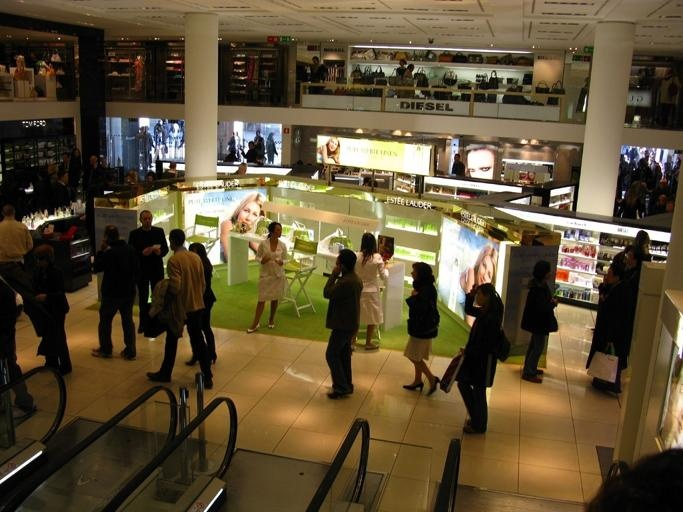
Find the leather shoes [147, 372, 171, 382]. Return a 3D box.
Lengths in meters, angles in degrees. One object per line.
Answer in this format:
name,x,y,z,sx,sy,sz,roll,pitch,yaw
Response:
leather shoes,-2.313,1.519,6.510,0.319,0.124,0.104,7,15,15

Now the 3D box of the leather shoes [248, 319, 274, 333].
leather shoes,-1.278,1.128,8.228,0.456,0.167,0.154,-10,17,-31

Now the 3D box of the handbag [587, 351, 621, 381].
handbag,3.393,1.412,6.641,0.330,0.406,0.143,17,28,27

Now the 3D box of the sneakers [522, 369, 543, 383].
sneakers,2.659,1.680,7.143,0.171,0.060,0.179,1,14,21

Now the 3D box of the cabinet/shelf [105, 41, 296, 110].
cabinet/shelf,-4.904,-6.235,17.403,6.530,2.129,1.445,6,15,11

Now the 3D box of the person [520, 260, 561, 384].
person,2.641,0.899,6.899,0.429,1.721,0.475,8,15,21

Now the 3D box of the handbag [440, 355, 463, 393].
handbag,1.246,1.352,5.855,0.106,0.439,0.310,24,-18,-1

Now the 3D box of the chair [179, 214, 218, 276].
chair,-2.814,-0.270,10.447,0.632,0.944,0.708,5,16,-17
